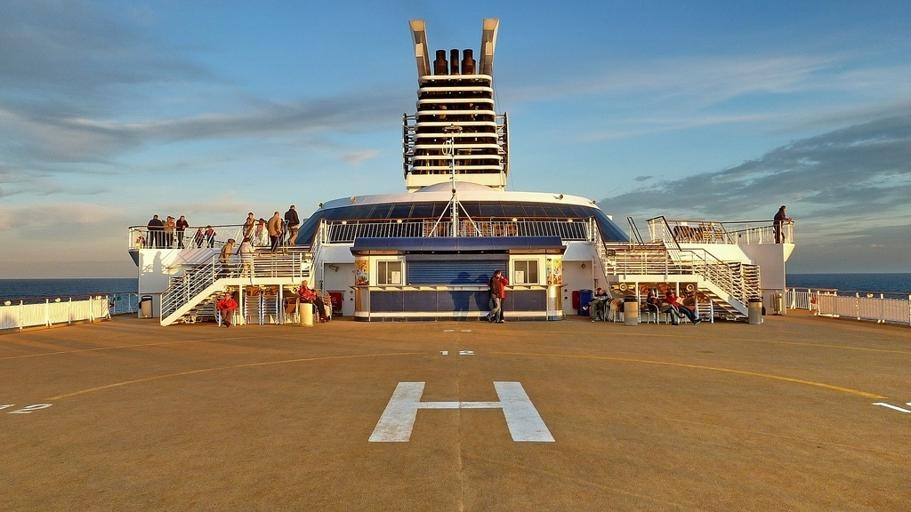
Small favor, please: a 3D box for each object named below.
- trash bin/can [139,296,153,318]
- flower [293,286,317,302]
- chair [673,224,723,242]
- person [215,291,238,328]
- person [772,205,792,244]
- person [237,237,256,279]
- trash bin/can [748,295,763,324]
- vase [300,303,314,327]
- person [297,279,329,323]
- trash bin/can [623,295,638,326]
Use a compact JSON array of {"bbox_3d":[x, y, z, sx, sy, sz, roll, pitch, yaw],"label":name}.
[{"bbox_3d":[-17.030,2.816,31.463,0.683,1.202,0.503,-4,9,-25],"label":"trash bin/can"},{"bbox_3d":[-6.830,1.771,26.425,0.804,0.340,0.865,2,5,-16],"label":"flower"},{"bbox_3d":[14.010,-1.377,32.508,2.526,1.015,0.851,2,8,20],"label":"chair"},{"bbox_3d":[-10.680,2.527,26.867,0.910,1.467,1.300,-3,8,-20],"label":"person"},{"bbox_3d":[18.122,-1.710,31.482,0.687,2.018,1.012,5,10,33],"label":"person"},{"bbox_3d":[-9.989,0.132,27.438,0.655,1.698,0.813,-3,8,-19],"label":"person"},{"bbox_3d":[13.745,2.512,25.949,0.580,1.046,1.024,3,8,20],"label":"trash bin/can"},{"bbox_3d":[-6.710,2.674,25.862,0.501,0.961,0.921,-3,8,-23],"label":"vase"},{"bbox_3d":[-6.760,2.241,27.134,1.534,2.182,1.026,-7,37,-6],"label":"person"},{"bbox_3d":[8.142,2.477,26.003,0.689,1.240,0.728,2,8,13],"label":"trash bin/can"}]
